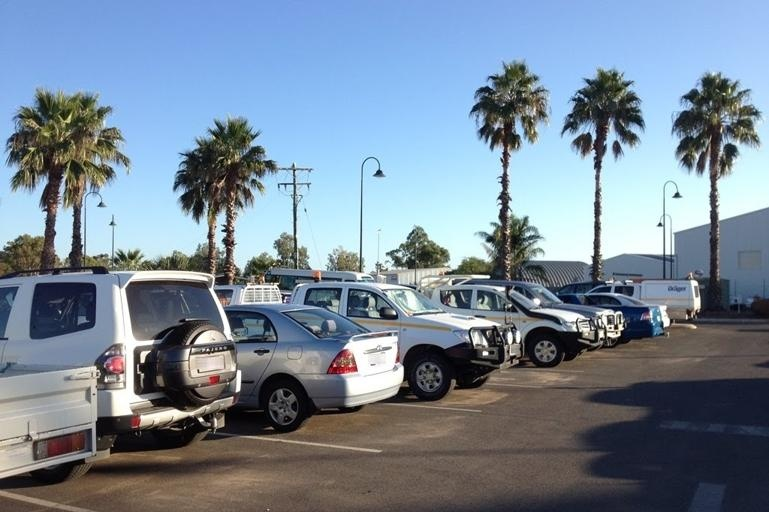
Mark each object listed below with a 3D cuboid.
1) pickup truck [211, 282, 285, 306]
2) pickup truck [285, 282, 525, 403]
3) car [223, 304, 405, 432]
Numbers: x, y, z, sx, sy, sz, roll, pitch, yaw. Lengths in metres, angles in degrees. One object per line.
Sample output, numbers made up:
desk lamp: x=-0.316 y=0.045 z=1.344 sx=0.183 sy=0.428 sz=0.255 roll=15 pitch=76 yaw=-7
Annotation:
pickup truck: x=-3.688 y=1.055 z=18.060 sx=1.623 sy=0.941 sz=1.053 roll=2 pitch=2 yaw=29
pickup truck: x=0.371 y=1.796 z=15.025 sx=4.698 sy=2.094 sz=2.412 roll=-2 pitch=-1 yaw=22
car: x=-1.328 y=1.948 z=11.803 sx=2.836 sy=2.142 sz=1.183 roll=0 pitch=1 yaw=14
